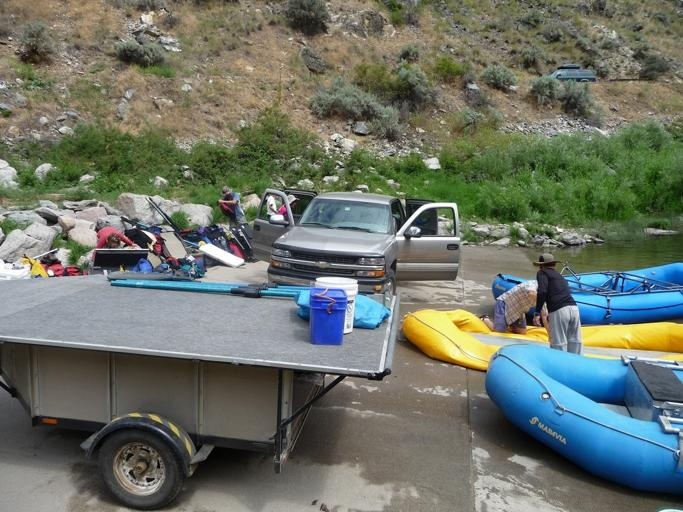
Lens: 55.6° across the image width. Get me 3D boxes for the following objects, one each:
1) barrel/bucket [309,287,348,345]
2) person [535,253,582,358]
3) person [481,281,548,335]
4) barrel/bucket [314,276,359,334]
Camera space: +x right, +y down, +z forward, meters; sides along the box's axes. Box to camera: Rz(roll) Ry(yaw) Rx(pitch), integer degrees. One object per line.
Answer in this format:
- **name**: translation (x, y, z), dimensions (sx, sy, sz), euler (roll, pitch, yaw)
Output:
- **barrel/bucket**: translation (-0.177, 0.753, 8.138), dimensions (0.453, 0.678, 0.283), euler (2, 13, -1)
- **person**: translation (3.701, 0.835, 11.154), dimensions (0.738, 1.644, 0.870), euler (7, 13, 18)
- **person**: translation (3.217, 0.969, 12.152), dimensions (1.189, 0.955, 0.628), euler (7, -3, 30)
- **barrel/bucket**: translation (-0.064, 0.593, 8.304), dimensions (0.539, 0.749, 0.493), euler (2, 10, 0)
